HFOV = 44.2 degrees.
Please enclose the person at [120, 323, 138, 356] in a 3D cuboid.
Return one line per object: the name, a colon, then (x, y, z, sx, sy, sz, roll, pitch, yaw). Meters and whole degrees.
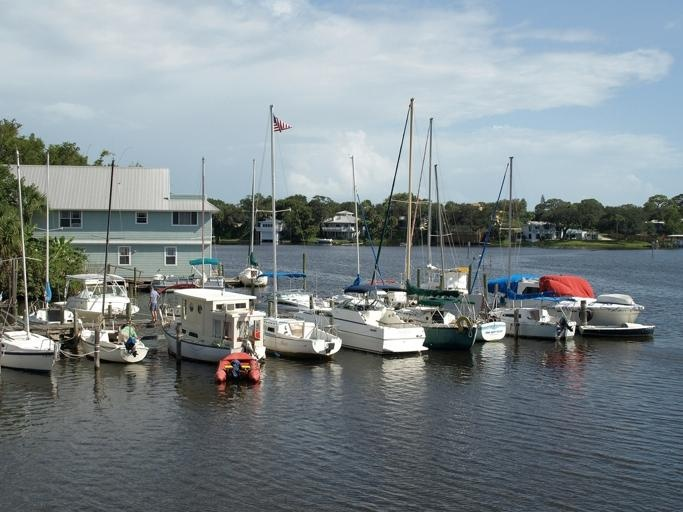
person: (-10.656, 4.084, 42.322, 0.743, 1.735, 0.631, -3, -36, -17)
